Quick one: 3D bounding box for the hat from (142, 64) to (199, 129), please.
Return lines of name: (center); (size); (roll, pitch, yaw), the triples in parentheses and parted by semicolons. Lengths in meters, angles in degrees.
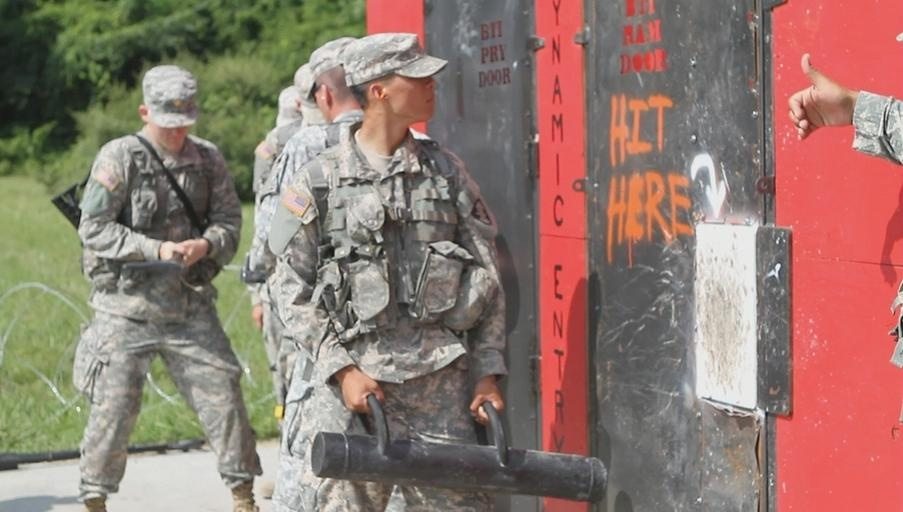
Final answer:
hat: (-2.465, -1.357, 15.030); (0.421, 0.581, 0.300); (-2, -28, -7)
